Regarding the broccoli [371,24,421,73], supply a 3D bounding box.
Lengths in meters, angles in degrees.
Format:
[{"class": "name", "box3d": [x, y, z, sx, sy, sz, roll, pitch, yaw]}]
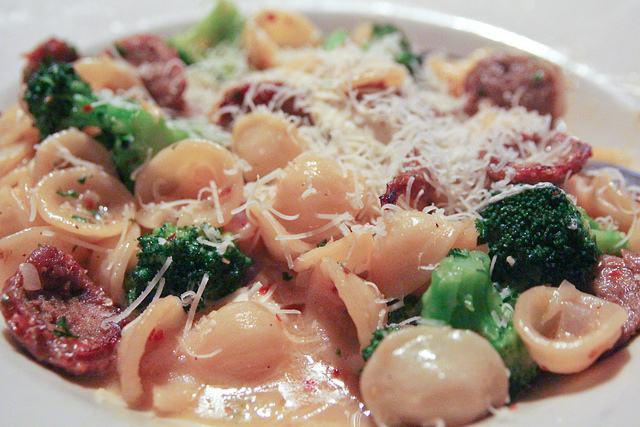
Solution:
[{"class": "broccoli", "box3d": [0.389, -0.919, 3.345, 0.081, 0.246, 0.324, -21, 73, 36]}]

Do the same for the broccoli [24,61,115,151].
[{"class": "broccoli", "box3d": [-1.134, -0.483, 2.835, 0.419, 0.123, 0.341, 29, 105, -4]}]
